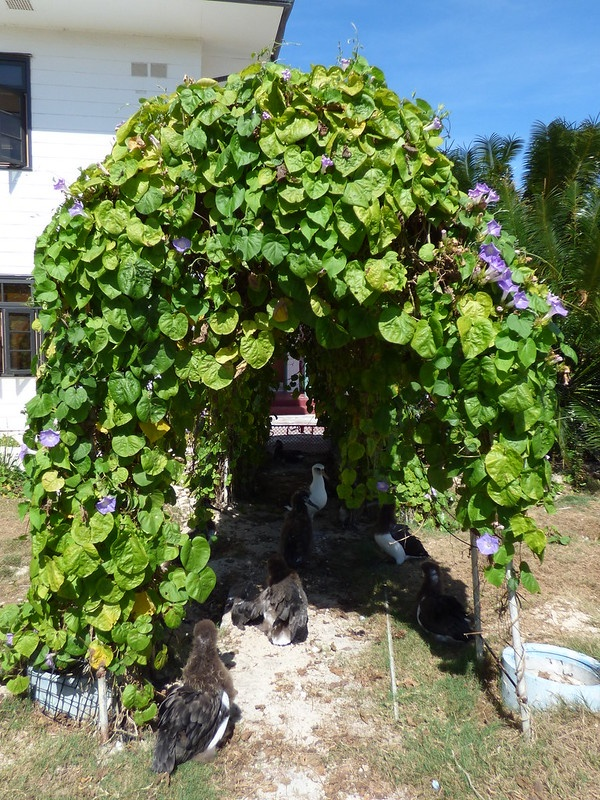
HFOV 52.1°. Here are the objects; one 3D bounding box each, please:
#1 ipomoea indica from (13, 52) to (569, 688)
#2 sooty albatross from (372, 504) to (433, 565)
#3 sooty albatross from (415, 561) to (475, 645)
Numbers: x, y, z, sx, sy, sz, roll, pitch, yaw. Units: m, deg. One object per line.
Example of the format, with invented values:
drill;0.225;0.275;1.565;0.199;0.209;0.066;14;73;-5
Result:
ipomoea indica;-0.141;-0.029;3.110;2.555;3.100;0.935;-1;6;4
sooty albatross;0.926;1.319;5.863;0.661;0.679;0.640;2;6;-4
sooty albatross;1.076;1.494;4.441;0.370;0.518;0.755;-7;-7;-10
